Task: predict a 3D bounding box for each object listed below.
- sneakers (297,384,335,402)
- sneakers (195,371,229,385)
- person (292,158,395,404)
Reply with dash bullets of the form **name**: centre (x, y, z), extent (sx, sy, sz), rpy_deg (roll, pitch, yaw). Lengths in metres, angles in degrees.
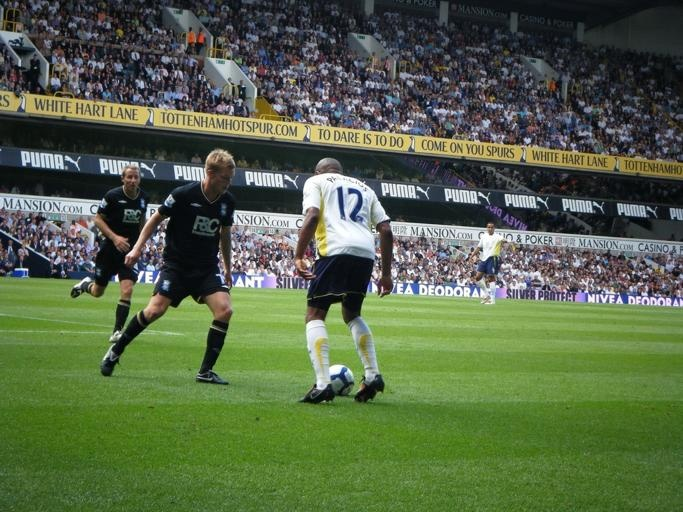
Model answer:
- **sneakers**: centre (-0.348, 1.731, 11.143), extent (0.480, 0.274, 0.180), rpy_deg (-9, -15, 14)
- **sneakers**: centre (-1.674, 1.576, 11.702), extent (0.346, 0.141, 0.179), rpy_deg (2, 3, 4)
- **person**: centre (0.021, 0.314, 11.387), extent (1.240, 3.007, 1.085), rpy_deg (1, 8, -10)
